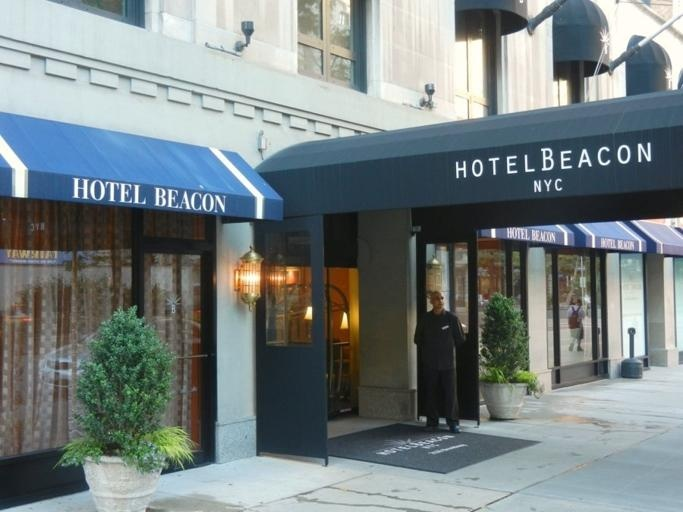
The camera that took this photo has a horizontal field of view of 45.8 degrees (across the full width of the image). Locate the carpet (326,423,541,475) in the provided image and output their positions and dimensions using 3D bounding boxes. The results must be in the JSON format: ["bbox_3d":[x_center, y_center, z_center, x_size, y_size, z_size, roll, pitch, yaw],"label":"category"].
[{"bbox_3d":[1.188,2.858,12.236,2.846,0.272,2.517,-6,-5,30],"label":"carpet"}]

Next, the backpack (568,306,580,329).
[{"bbox_3d":[5.454,1.425,18.939,0.110,0.517,0.645,-5,-4,31],"label":"backpack"}]

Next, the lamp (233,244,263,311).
[{"bbox_3d":[-1.339,0.298,11.486,0.374,0.880,0.170,-4,-4,16],"label":"lamp"}]

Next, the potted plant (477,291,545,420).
[{"bbox_3d":[2.914,1.774,14.393,0.921,2.214,0.575,-3,-4,11],"label":"potted plant"}]

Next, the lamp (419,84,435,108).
[{"bbox_3d":[1.585,-2.845,14.426,0.206,0.450,0.408,-6,-5,39],"label":"lamp"}]

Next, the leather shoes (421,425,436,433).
[{"bbox_3d":[1.422,2.804,13.157,0.212,0.117,0.083,9,-9,6],"label":"leather shoes"}]

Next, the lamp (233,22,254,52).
[{"bbox_3d":[-1.393,-3.092,11.466,0.274,0.436,0.240,-1,-4,-32],"label":"lamp"}]
